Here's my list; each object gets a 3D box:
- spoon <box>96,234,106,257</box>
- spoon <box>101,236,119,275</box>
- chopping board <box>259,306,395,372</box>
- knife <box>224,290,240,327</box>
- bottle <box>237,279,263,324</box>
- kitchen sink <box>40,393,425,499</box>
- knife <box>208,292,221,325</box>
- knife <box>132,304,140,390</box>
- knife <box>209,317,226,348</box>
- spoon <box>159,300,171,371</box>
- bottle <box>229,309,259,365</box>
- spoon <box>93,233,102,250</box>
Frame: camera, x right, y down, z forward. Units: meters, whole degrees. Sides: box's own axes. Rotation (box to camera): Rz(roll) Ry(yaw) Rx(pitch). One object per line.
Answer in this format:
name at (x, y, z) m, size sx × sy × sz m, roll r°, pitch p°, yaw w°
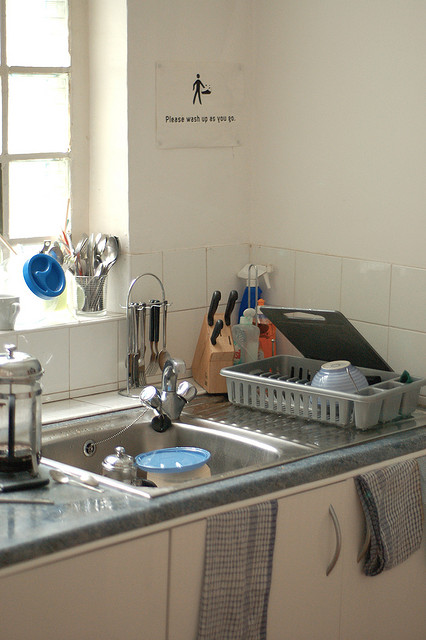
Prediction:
spoon at (-0.353, -0.236, 1.744) m, size 0.036 × 0.061 × 0.014 m, roll 6°, pitch -13°, yaw 40°
spoon at (-0.325, -0.205, 1.748) m, size 0.037 × 0.131 × 0.018 m, roll 16°, pitch 8°, yaw 15°
chopping board at (0.362, 0.058, 1.685) m, size 0.330 × 0.021 × 0.362 m, roll 4°, pitch -31°, yaw 45°
knife at (0.057, -0.022, 1.831) m, size 0.034 × 0.148 × 0.042 m, roll 3°, pitch 24°, yaw -24°
bottle at (0.135, -0.069, 2.037) m, size 0.072 × 0.073 × 0.246 m, roll 3°, pitch -39°, yaw -1°
kitchen sink at (-0.006, 0.321, 1.388) m, size 0.894 × 0.158 × 0.623 m, roll 0°, pitch 4°, yaw -38°
knife at (0.002, -0.033, 1.781) m, size 0.024 × 0.109 × 0.029 m, roll 11°, pitch 27°, yaw 5°
knife at (-0.235, 0.081, 1.705) m, size 0.024 × 0.261 × 0.042 m, roll 2°, pitch 3°, yaw -7°
knife at (0.011, 0.042, 1.759) m, size 0.030 × 0.035 × 0.111 m, roll -5°, pitch -32°, yaw -20°
spoon at (-0.155, 0.053, 1.790) m, size 0.032 × 0.230 × 0.120 m, roll 2°, pitch 3°, yaw -1°
bottle at (0.112, 0.054, 1.821) m, size 0.070 × 0.180 × 0.119 m, roll 5°, pitch 4°, yaw 40°
spoon at (-0.368, -0.247, 1.768) m, size 0.009 × 0.065 × 0.015 m, roll 29°, pitch -14°, yaw -35°
